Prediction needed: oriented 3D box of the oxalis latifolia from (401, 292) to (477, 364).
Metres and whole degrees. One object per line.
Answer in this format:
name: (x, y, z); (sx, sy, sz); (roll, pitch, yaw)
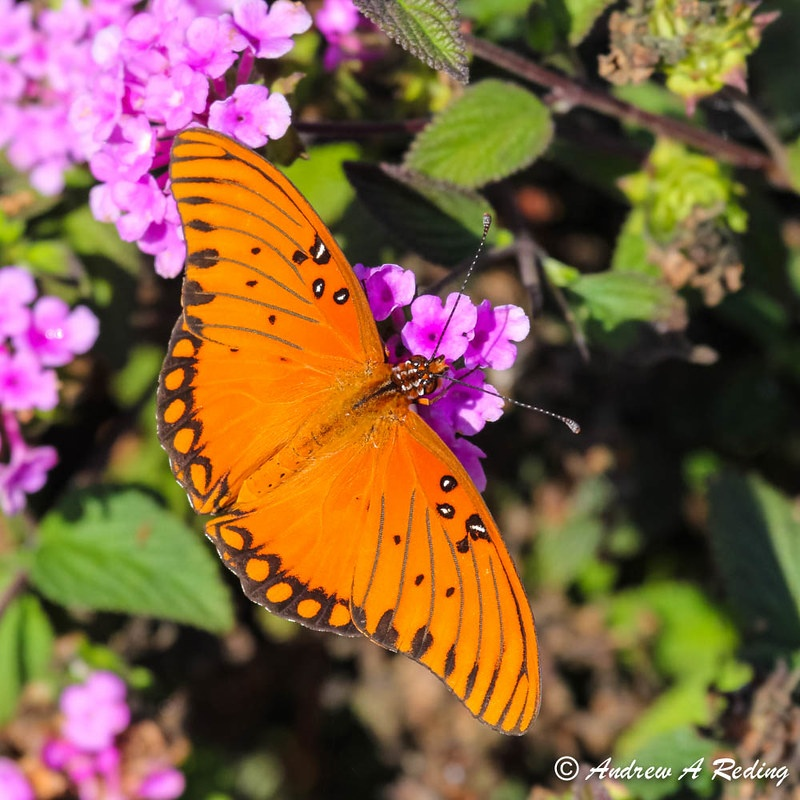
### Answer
oxalis latifolia: (0.078, -0.146, 2.033); (0.135, 0.056, 0.139); (15, 82, 0)
